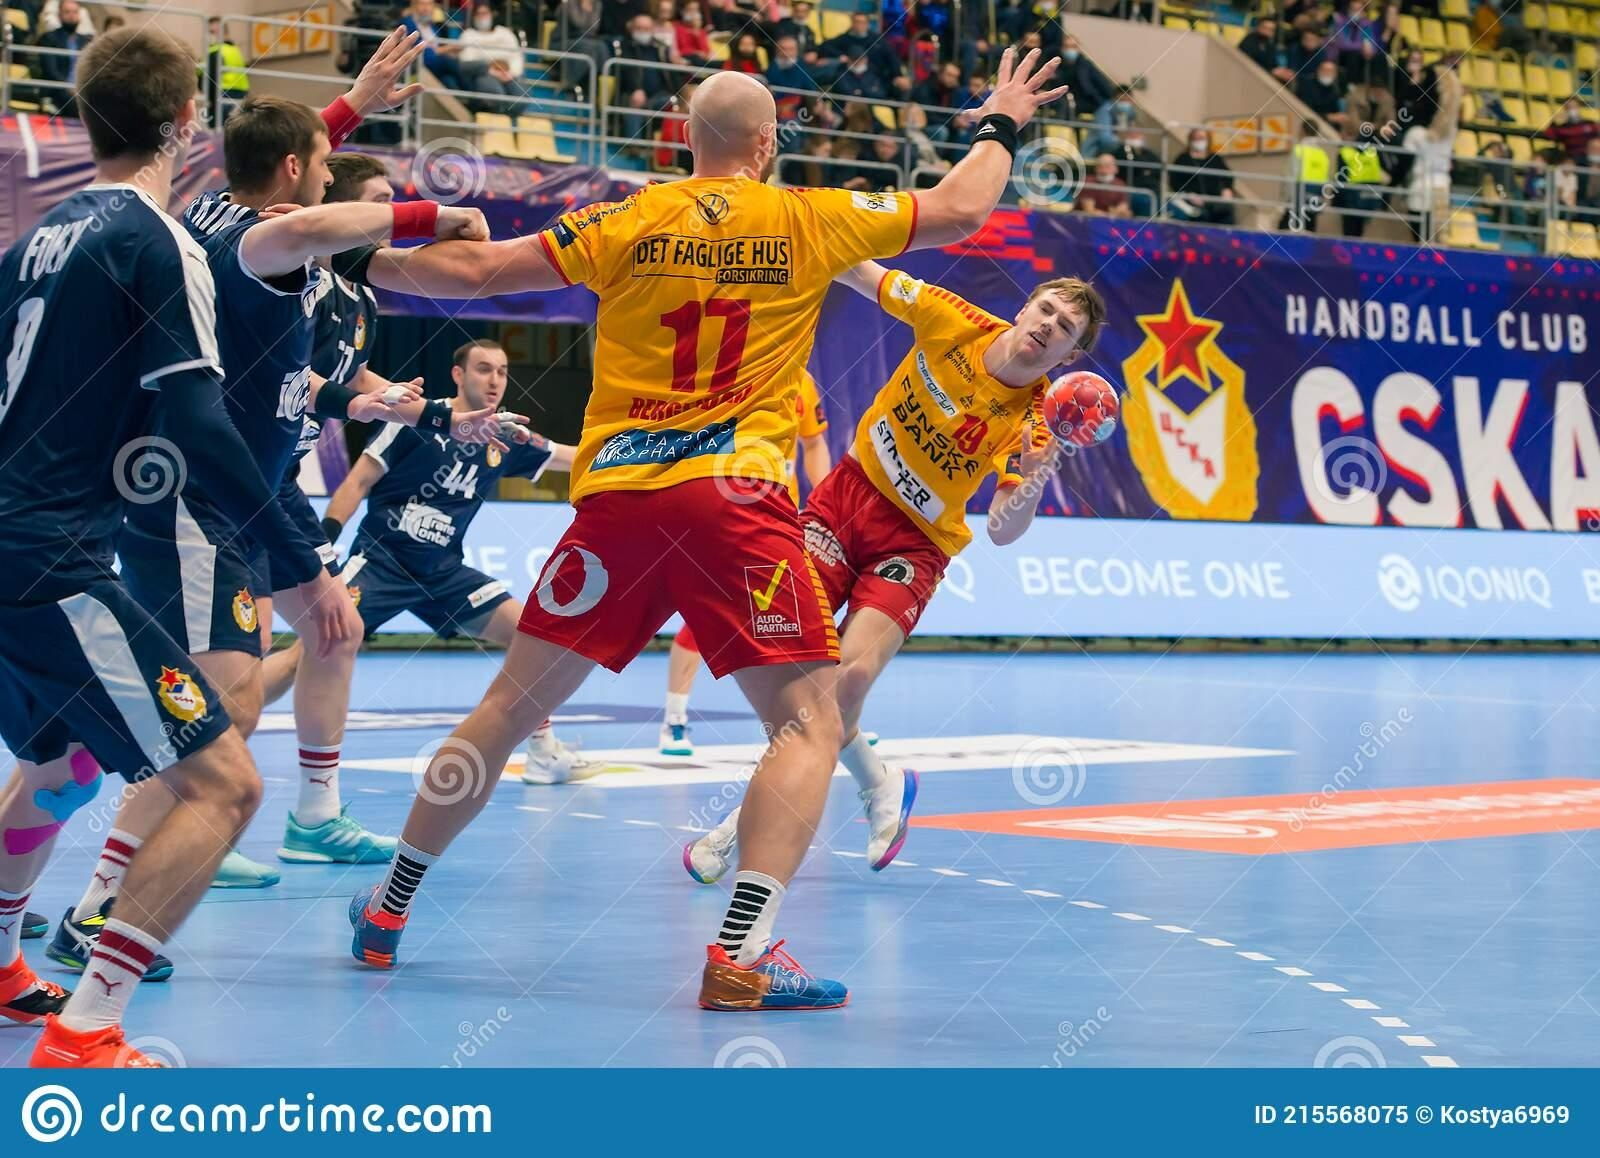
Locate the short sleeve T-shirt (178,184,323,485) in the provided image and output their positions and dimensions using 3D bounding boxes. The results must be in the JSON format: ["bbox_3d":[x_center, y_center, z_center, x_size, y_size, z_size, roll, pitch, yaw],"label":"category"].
[{"bbox_3d":[-1.734,-0.787,6.071,0.427,1.019,0.561,-17,47,-31],"label":"short sleeve T-shirt"}]

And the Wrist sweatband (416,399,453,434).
[{"bbox_3d":[-1.412,-0.621,7.310,0.066,0.119,0.157,21,5,29],"label":"Wrist sweatband"}]

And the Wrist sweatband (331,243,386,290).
[{"bbox_3d":[-1.430,-0.997,6.112,0.169,0.114,0.187,-3,-8,17],"label":"Wrist sweatband"}]

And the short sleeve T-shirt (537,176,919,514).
[{"bbox_3d":[-0.305,-0.808,6.045,1.308,0.971,0.361,-1,16,-11],"label":"short sleeve T-shirt"}]

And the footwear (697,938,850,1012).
[{"bbox_3d":[-0.112,1.241,6.139,0.553,0.255,0.186,1,-5,-14],"label":"footwear"}]

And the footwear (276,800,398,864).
[{"bbox_3d":[-1.866,1.017,7.847,0.566,0.255,0.207,2,-2,-6],"label":"footwear"}]

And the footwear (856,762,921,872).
[{"bbox_3d":[0.340,0.922,7.744,0.208,0.155,0.454,24,52,-8],"label":"footwear"}]

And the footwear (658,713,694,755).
[{"bbox_3d":[-0.696,0.874,10.543,0.099,0.203,0.296,2,-13,-10],"label":"footwear"}]

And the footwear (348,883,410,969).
[{"bbox_3d":[-1.392,1.137,6.416,0.136,0.184,0.311,16,8,-17],"label":"footwear"}]

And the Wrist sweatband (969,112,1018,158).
[{"bbox_3d":[0.634,-1.441,6.281,0.154,0.115,0.153,1,3,-18],"label":"Wrist sweatband"}]

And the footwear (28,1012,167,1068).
[{"bbox_3d":[-1.933,1.269,5.332,0.374,0.150,0.150,5,-3,-13],"label":"footwear"}]

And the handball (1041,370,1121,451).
[{"bbox_3d":[1.121,-0.686,7.795,0.327,0.329,0.376,6,48,8],"label":"handball"}]

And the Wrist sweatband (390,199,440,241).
[{"bbox_3d":[-1.176,-1.088,5.875,0.052,0.103,0.199,15,21,28],"label":"Wrist sweatband"}]

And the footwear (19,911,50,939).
[{"bbox_3d":[-2.642,1.177,6.667,0.066,0.070,0.166,5,-19,-27],"label":"footwear"}]

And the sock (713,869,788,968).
[{"bbox_3d":[-0.166,1.032,6.014,0.120,0.275,0.183,17,22,32],"label":"sock"}]
